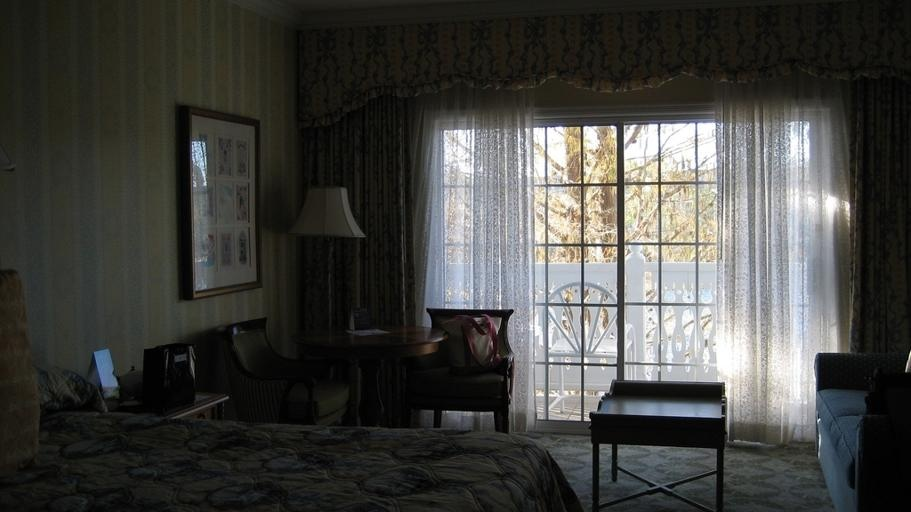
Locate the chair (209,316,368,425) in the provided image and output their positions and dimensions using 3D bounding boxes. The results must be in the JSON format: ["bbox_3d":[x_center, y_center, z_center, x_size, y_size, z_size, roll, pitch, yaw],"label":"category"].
[{"bbox_3d":[-1.509,1.162,6.321,1.097,1.042,0.867,2,6,2],"label":"chair"}]

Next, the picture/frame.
[{"bbox_3d":[-2.061,-0.457,6.273,0.125,1.622,0.890,2,1,27],"label":"picture/frame"}]

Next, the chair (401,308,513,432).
[{"bbox_3d":[0.135,1.115,6.704,1.042,1.221,0.867,1,0,28],"label":"chair"}]

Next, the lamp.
[{"bbox_3d":[-1.213,0.000,6.826,0.713,1.381,0.561,1,1,-7],"label":"lamp"}]

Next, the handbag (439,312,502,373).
[{"bbox_3d":[0.239,0.788,6.690,0.491,0.441,0.273,-2,-1,-7],"label":"handbag"}]

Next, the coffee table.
[{"bbox_3d":[-0.725,1.120,6.261,1.034,0.681,0.998,0,-2,-7],"label":"coffee table"}]

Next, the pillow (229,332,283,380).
[{"bbox_3d":[-1.775,0.863,6.326,0.200,0.462,0.366,-32,-2,35],"label":"pillow"}]
